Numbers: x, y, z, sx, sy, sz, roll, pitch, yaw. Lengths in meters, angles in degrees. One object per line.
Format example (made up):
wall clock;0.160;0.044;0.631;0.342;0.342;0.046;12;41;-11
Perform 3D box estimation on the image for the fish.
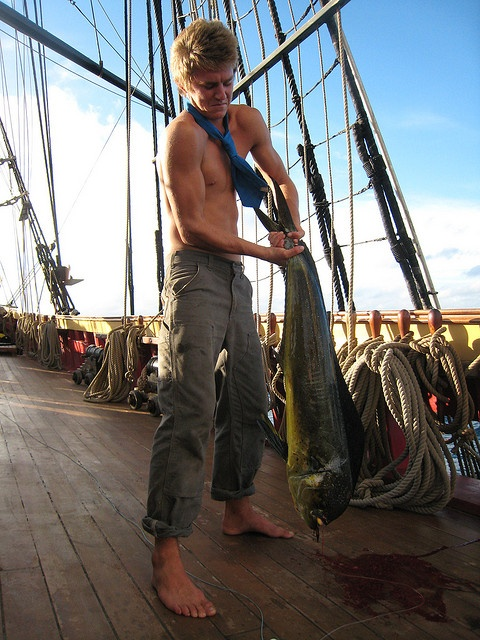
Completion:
fish;0.200;0.181;1.246;0.201;0.802;0.260;3;-3;-43
